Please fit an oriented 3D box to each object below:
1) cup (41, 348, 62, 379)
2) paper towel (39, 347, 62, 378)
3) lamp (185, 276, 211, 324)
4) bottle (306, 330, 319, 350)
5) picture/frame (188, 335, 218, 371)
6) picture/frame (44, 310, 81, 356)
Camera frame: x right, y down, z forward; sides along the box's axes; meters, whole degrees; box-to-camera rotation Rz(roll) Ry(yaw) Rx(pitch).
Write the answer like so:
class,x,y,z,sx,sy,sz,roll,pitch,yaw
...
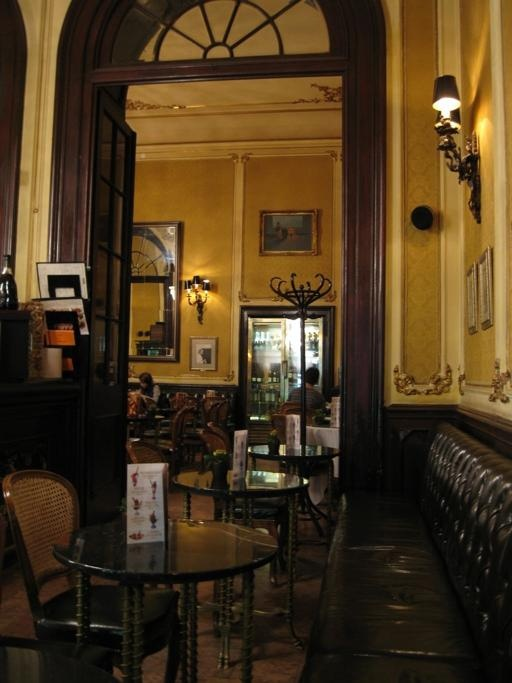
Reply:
class,x,y,z,sx,sy,sz,roll,pitch,yaw
cup,-1.210,0.131,3.537,0.156,0.181,0.157,1,1,0
paper towel,-1.207,0.133,3.541,0.155,0.179,0.156,0,1,-12
lamp,-0.991,-0.706,10.093,0.454,0.800,0.231,-1,-1,4
bottle,0.933,-0.009,9.898,0.233,0.245,0.126,-11,-8,38
picture/frame,-0.871,0.212,10.088,0.575,0.719,0.060,0,-4,4
picture/frame,-1.185,-0.066,3.688,0.247,0.345,0.265,-1,4,0
